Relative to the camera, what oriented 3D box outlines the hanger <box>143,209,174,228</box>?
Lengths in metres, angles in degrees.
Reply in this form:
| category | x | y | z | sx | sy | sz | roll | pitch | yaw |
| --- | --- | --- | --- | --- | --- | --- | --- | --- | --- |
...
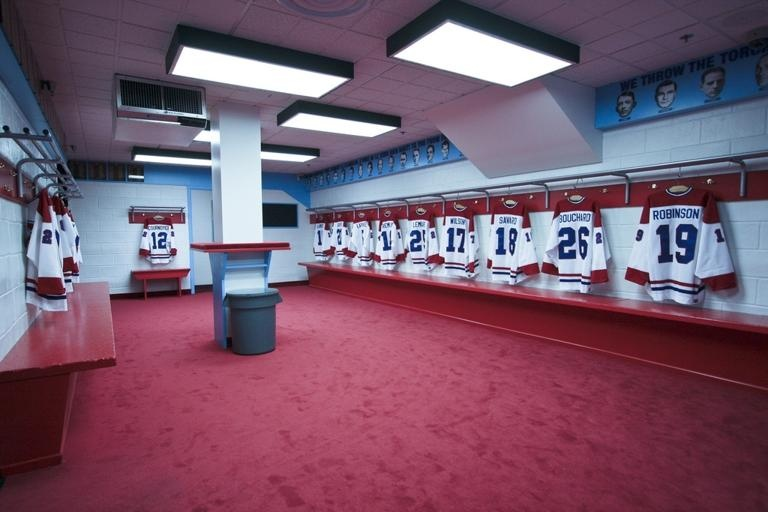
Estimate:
| category | x | y | z | sx | sy | sz | roll | pitch | yaw |
| --- | --- | --- | --- | --- | --- | --- | --- | --- | --- |
| hanger | -4.845 | -0.801 | 9.340 | 0.441 | 0.422 | 0.046 | -2 | 2 | -29 |

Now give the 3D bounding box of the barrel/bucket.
| category | x | y | z | sx | sy | sz | roll | pitch | yaw |
| --- | --- | --- | --- | --- | --- | --- | --- | --- | --- |
| barrel/bucket | -1.514 | 0.762 | 5.470 | 0.859 | 0.731 | 0.718 | -1 | 1 | -12 |

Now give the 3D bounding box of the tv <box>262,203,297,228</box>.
| category | x | y | z | sx | sy | sz | roll | pitch | yaw |
| --- | --- | --- | --- | --- | --- | --- | --- | --- | --- |
| tv | -2.608 | -1.003 | 10.793 | 1.102 | 0.618 | 0.082 | 0 | 3 | -34 |

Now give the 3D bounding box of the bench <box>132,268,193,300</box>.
| category | x | y | z | sx | sy | sz | roll | pitch | yaw |
| --- | --- | --- | --- | --- | --- | --- | --- | --- | --- |
| bench | -4.672 | 0.554 | 9.239 | 1.089 | 0.590 | 0.620 | -4 | 7 | -30 |
